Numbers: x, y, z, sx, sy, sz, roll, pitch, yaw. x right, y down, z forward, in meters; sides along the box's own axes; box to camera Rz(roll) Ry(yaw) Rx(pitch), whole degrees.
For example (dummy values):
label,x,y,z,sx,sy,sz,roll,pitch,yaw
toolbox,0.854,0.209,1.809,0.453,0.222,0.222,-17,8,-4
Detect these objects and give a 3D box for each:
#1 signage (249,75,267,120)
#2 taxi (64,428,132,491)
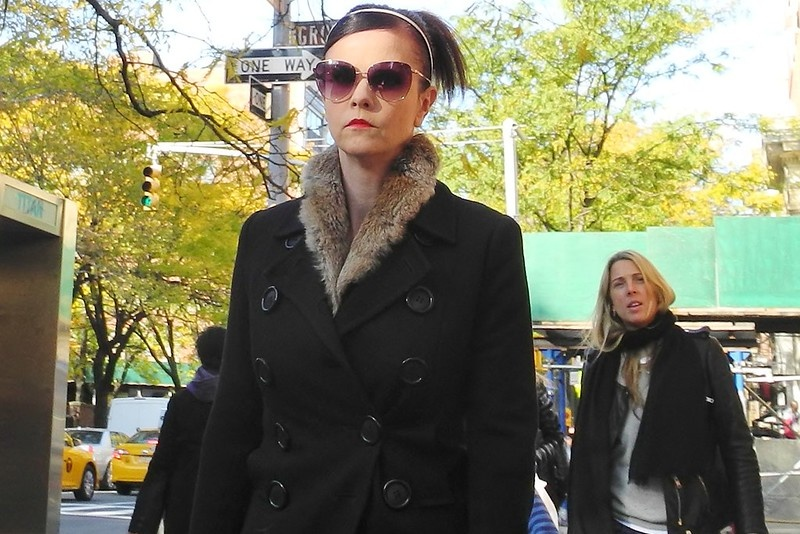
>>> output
label,x,y,z,sx,sy,sz,roll,pitch,yaw
signage,-1.571,-1.863,9.135,0.193,0.464,0.437,-6,26,-11
taxi,-8.071,4.943,22.070,1.154,0.815,2.423,0,-5,7
